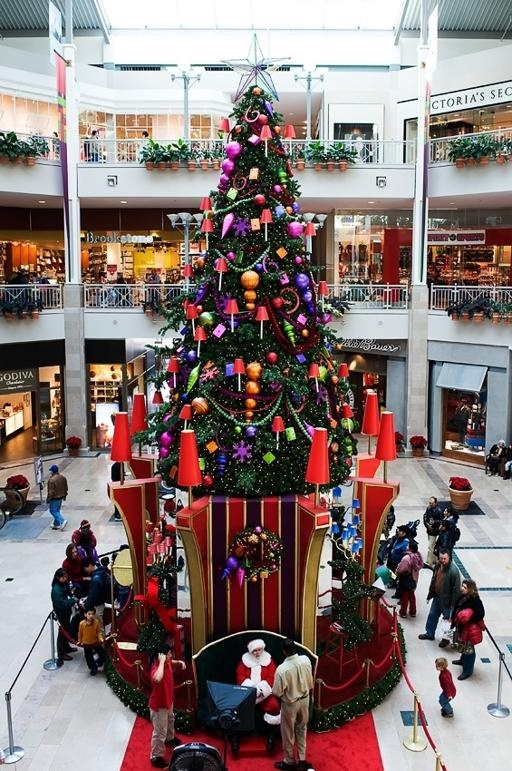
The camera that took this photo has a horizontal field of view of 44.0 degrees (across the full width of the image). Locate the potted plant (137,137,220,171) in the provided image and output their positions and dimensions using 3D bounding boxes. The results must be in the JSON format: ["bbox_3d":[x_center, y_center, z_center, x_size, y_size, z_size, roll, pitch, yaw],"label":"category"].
[{"bbox_3d":[-2.050,-6.135,16.994,2.245,0.771,0.498,0,9,6],"label":"potted plant"}]

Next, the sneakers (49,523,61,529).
[{"bbox_3d":[-3.663,2.560,11.575,0.157,0.072,0.077,7,-33,19],"label":"sneakers"}]

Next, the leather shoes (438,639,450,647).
[{"bbox_3d":[2.147,2.916,7.226,0.114,0.124,0.071,3,-1,3],"label":"leather shoes"}]

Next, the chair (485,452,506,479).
[{"bbox_3d":[5.738,1.864,15.240,0.452,0.772,0.552,1,4,14],"label":"chair"}]

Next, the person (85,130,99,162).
[{"bbox_3d":[-4.672,-6.674,18.056,0.417,0.812,0.981,-4,9,-14],"label":"person"}]

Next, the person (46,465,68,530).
[{"bbox_3d":[-3.712,1.987,11.817,0.342,1.155,0.954,-4,9,-18],"label":"person"}]

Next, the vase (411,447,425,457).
[{"bbox_3d":[4.445,1.810,17.308,0.395,0.255,0.323,0,9,8],"label":"vase"}]

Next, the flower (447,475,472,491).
[{"bbox_3d":[4.046,1.915,12.430,0.475,0.212,0.460,-7,11,-32],"label":"flower"}]

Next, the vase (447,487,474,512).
[{"bbox_3d":[4.032,2.205,12.452,0.443,0.382,0.463,0,4,5],"label":"vase"}]

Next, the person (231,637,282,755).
[{"bbox_3d":[0.041,2.463,5.166,0.318,0.752,0.434,-3,3,-37],"label":"person"}]

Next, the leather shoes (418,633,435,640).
[{"bbox_3d":[1.997,2.910,7.396,0.156,0.066,0.078,11,7,3],"label":"leather shoes"}]

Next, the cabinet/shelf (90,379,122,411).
[{"bbox_3d":[-4.284,0.275,18.220,0.800,0.796,0.273,1,5,4],"label":"cabinet/shelf"}]

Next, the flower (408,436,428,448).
[{"bbox_3d":[4.382,1.535,17.253,0.319,0.244,0.333,0,9,-1],"label":"flower"}]

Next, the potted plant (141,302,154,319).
[{"bbox_3d":[-2.966,-2.033,17.374,0.294,0.568,0.565,-3,20,-6],"label":"potted plant"}]

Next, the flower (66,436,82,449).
[{"bbox_3d":[-4.908,1.538,17.178,0.299,0.328,0.317,4,11,14],"label":"flower"}]

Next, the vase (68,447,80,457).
[{"bbox_3d":[-4.977,1.803,17.312,0.219,0.173,0.228,1,-1,-2],"label":"vase"}]
